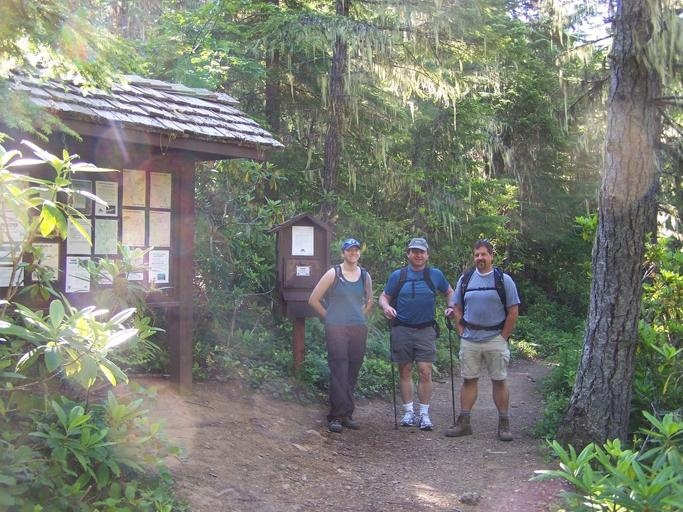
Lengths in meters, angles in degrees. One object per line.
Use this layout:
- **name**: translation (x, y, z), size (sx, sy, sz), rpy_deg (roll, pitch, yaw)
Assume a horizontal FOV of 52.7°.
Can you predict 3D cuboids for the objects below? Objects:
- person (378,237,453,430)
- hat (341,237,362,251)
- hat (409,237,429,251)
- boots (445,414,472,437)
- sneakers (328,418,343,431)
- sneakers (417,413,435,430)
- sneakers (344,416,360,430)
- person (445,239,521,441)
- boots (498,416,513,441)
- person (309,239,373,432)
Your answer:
- **person**: translation (0.961, 1.041, 9.269), size (0.855, 2.562, 0.383), rpy_deg (5, 5, 5)
- **hat**: translation (0.090, -0.177, 8.988), size (0.144, 0.133, 0.225), rpy_deg (4, -5, -13)
- **hat**: translation (1.022, -0.180, 9.304), size (0.158, 0.137, 0.254), rpy_deg (3, -11, 4)
- **boots**: translation (1.545, 2.218, 9.002), size (0.444, 0.380, 0.185), rpy_deg (2, -3, -11)
- **sneakers**: translation (-0.082, 2.169, 8.869), size (0.183, 0.148, 0.183), rpy_deg (5, 6, -11)
- **sneakers**: translation (1.122, 2.273, 9.382), size (0.108, 0.154, 0.301), rpy_deg (1, -19, -5)
- **sneakers**: translation (0.119, 2.184, 9.015), size (0.101, 0.142, 0.280), rpy_deg (0, -6, -35)
- **person**: translation (1.841, 1.095, 8.895), size (0.904, 2.575, 0.498), rpy_deg (6, 5, 10)
- **boots**: translation (2.094, 2.194, 8.802), size (0.192, 0.308, 0.251), rpy_deg (7, 6, 14)
- **person**: translation (-0.033, 0.996, 9.005), size (0.750, 2.456, 0.666), rpy_deg (5, 5, 2)
